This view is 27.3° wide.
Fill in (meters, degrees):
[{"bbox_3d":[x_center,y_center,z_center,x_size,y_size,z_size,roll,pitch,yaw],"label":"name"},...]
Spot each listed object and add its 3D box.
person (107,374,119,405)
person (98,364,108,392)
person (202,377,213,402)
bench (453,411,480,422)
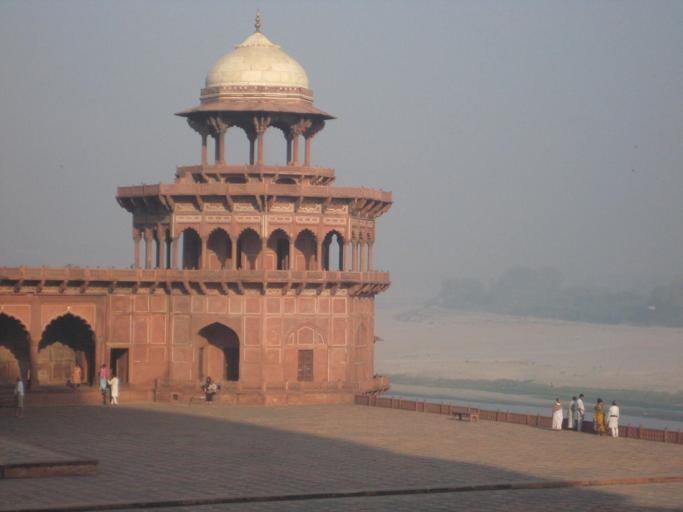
[{"bbox_3d":[-10.373,6.128,64.160,0.422,1.273,0.950,-5,4,-12],"label":"person"},{"bbox_3d":[-11.053,5.636,65.311,0.370,1.117,1.667,-5,4,-11],"label":"person"},{"bbox_3d":[-6.184,6.147,65.390,0.564,1.005,1.593,-4,4,-6],"label":"person"},{"bbox_3d":[5.299,6.868,60.323,1.160,0.388,0.482,0,5,42],"label":"bench"}]
